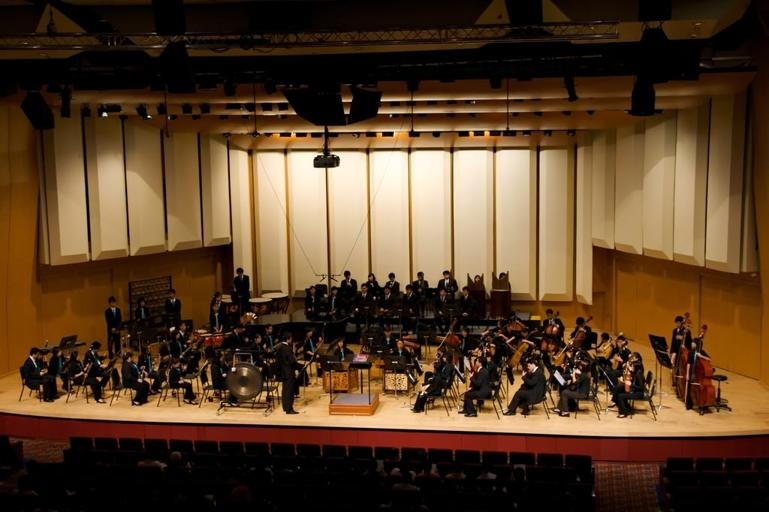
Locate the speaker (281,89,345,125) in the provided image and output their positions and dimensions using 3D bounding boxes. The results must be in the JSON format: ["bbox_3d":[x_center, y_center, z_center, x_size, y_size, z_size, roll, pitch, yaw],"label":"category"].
[{"bbox_3d":[-1.684,-3.662,17.022,1.344,0.578,0.473,-1,0,-10],"label":"speaker"}]

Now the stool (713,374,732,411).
[{"bbox_3d":[8.261,3.288,17.209,0.399,0.825,1.568,-1,0,25],"label":"stool"}]

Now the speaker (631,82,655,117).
[{"bbox_3d":[5.751,-3.578,15.687,0.495,0.742,0.600,-1,0,16],"label":"speaker"}]

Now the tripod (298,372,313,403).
[{"bbox_3d":[-2.124,3.538,18.609,0.565,0.764,0.638,1,1,-1],"label":"tripod"}]

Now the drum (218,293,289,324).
[{"bbox_3d":[-3.958,1.687,22.266,1.785,0.907,0.867,-1,3,-15],"label":"drum"}]
